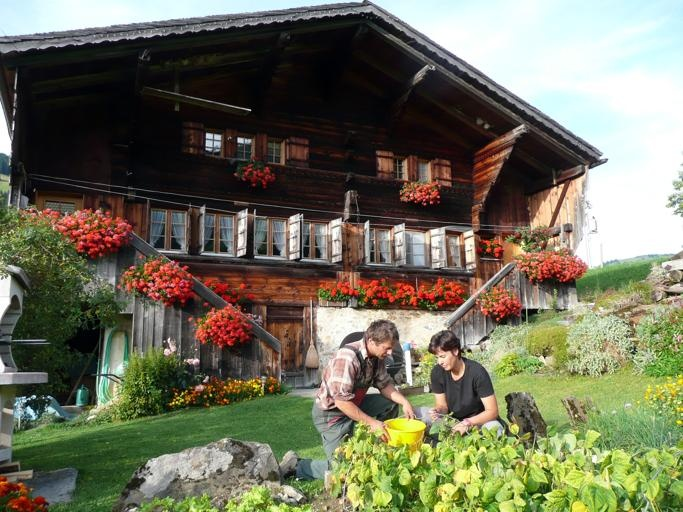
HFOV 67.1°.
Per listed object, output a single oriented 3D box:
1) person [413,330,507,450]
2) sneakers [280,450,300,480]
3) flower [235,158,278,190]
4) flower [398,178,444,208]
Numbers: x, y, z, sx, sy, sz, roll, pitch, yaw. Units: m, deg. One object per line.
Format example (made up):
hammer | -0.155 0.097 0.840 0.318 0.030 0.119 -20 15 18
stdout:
person | 1.302 1.434 5.674 0.840 1.278 1.174 -9 3 -41
sneakers | -0.591 2.275 5.576 0.138 0.236 0.106 15 -48 5
flower | -2.593 -2.400 15.020 0.805 0.622 0.854 4 8 -3
flower | 2.543 -2.058 16.915 1.005 0.647 0.858 1 1 -7
